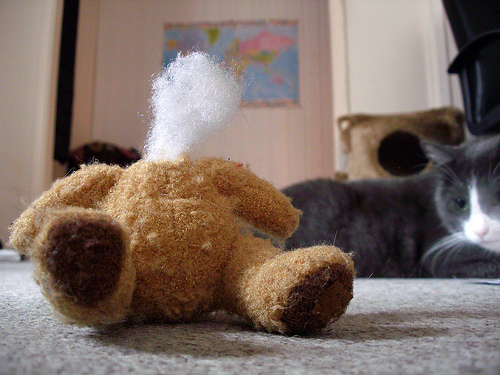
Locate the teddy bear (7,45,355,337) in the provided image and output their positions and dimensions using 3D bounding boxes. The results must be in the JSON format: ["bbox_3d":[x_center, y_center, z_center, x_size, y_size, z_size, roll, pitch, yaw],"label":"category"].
[{"bbox_3d":[-0.196,0.004,1.788,0.826,0.884,0.624,4,-7,-23],"label":"teddy bear"}]
